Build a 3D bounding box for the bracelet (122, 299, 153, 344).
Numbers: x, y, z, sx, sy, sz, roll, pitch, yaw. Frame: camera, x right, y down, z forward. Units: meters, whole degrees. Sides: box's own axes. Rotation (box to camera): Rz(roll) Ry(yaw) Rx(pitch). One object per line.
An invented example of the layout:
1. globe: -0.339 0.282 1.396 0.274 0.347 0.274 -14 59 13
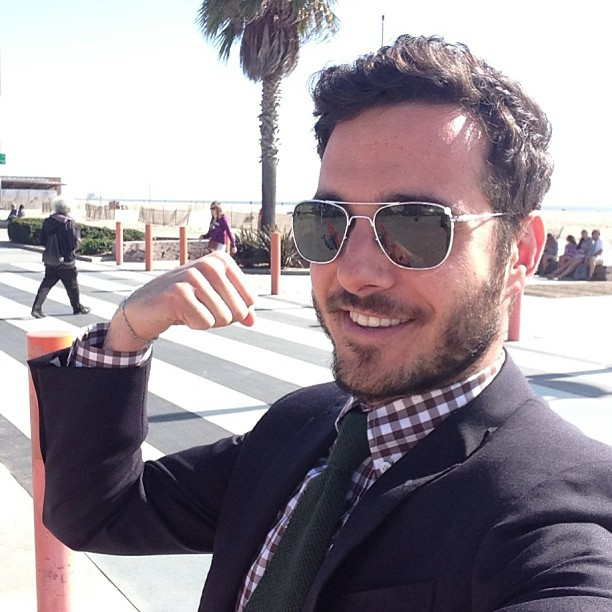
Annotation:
1. bracelet: -0.463 0.045 1.668 0.090 0.111 0.050 9 11 29
